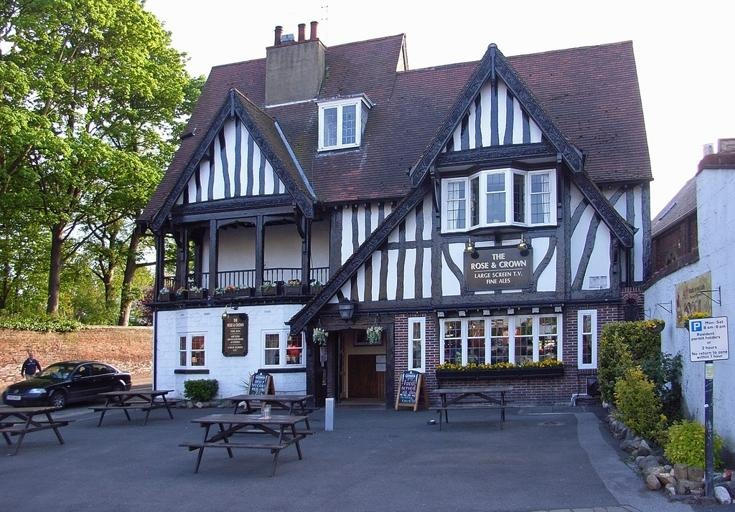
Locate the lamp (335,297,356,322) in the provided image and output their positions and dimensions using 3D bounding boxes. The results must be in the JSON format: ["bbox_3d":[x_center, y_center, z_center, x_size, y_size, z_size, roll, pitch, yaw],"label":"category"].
[{"bbox_3d":[-0.792,2.005,32.538,0.626,0.883,0.594,1,-10,0],"label":"lamp"}]

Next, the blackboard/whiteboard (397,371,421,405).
[{"bbox_3d":[1.463,4.814,31.543,0.873,1.300,0.454,-4,-10,24],"label":"blackboard/whiteboard"}]

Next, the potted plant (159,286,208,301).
[{"bbox_3d":[-7.572,1.623,35.814,2.335,0.576,0.308,-5,-11,27],"label":"potted plant"}]

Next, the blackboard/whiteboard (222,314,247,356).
[{"bbox_3d":[-5.243,3.185,34.641,1.404,2.069,0.198,-5,-11,22],"label":"blackboard/whiteboard"}]

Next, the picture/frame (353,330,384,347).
[{"bbox_3d":[0.075,3.251,34.304,0.854,0.548,0.062,-1,-5,10],"label":"picture/frame"}]

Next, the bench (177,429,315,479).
[{"bbox_3d":[-3.133,5.327,23.638,3.294,1.115,2.960,-3,-11,18],"label":"bench"}]

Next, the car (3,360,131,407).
[{"bbox_3d":[-12.056,5.201,35.371,1.228,1.884,4.650,-7,-13,39],"label":"car"}]

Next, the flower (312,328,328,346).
[{"bbox_3d":[-1.797,3.106,33.005,0.569,0.610,0.582,4,6,-5],"label":"flower"}]

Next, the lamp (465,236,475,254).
[{"bbox_3d":[3.724,-0.350,31.557,0.436,0.481,0.443,-5,-7,26],"label":"lamp"}]

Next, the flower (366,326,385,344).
[{"bbox_3d":[0.278,2.963,32.757,0.711,0.833,0.788,0,-1,-35],"label":"flower"}]
